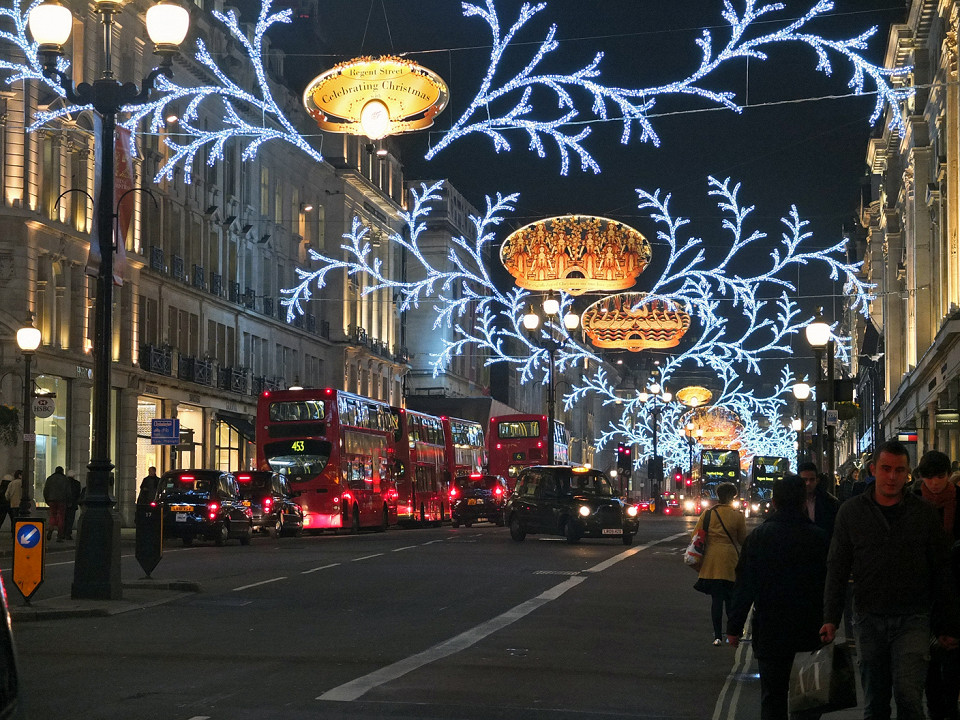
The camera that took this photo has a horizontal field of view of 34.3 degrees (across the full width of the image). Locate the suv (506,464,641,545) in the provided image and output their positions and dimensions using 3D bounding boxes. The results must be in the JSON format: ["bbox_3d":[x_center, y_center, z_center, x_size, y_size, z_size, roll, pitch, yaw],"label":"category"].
[{"bbox_3d":[2.246,3.696,39.827,2.961,2.021,2.666,-4,-5,-9],"label":"suv"}]

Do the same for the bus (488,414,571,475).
[{"bbox_3d":[1.658,3.533,65.870,1.581,2.117,6.120,-1,-4,10],"label":"bus"}]

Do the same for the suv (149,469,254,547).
[{"bbox_3d":[-6.751,3.602,37.824,1.807,2.005,1.949,-1,-3,9],"label":"suv"}]

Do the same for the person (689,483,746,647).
[{"bbox_3d":[2.960,2.525,19.587,0.766,2.096,0.640,1,-5,27],"label":"person"}]

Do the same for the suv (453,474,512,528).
[{"bbox_3d":[-0.025,4.908,54.136,1.866,1.877,1.917,3,-9,-2],"label":"suv"}]

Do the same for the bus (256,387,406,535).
[{"bbox_3d":[-4.539,3.140,46.211,3.436,4.791,10.137,0,-2,7],"label":"bus"}]
